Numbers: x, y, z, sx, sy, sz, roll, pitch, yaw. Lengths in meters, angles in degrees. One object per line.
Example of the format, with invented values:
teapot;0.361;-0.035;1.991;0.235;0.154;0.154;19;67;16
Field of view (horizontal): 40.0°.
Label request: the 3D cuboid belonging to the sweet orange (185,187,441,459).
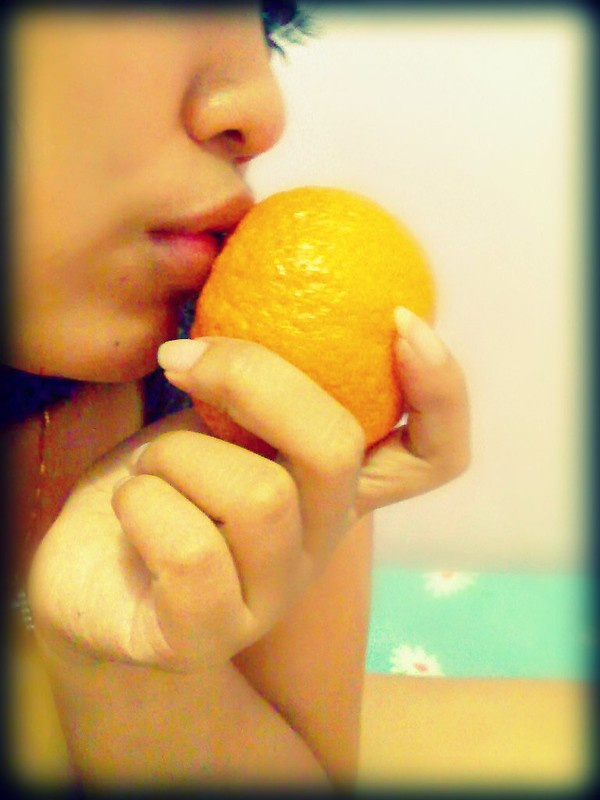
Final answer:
sweet orange;0.021;-0.117;0.749;0.160;0.188;0.154;-8;45;1
